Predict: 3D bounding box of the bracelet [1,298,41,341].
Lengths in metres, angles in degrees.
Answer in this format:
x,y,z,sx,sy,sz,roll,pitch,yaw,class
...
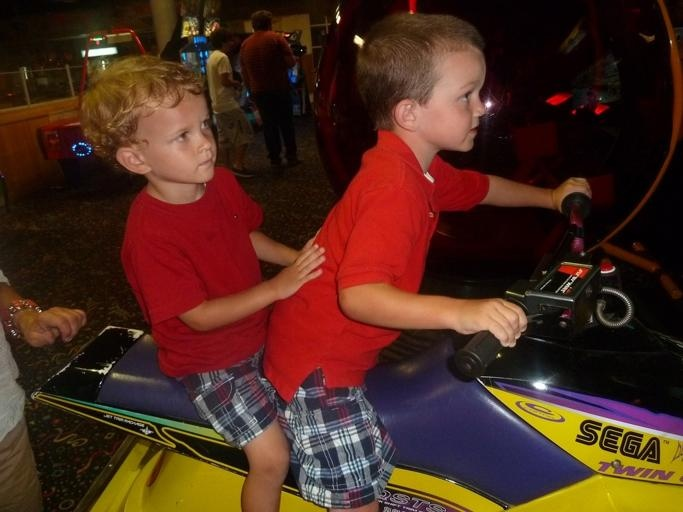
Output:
x,y,z,sx,sy,sz,roll,pitch,yaw,class
-0.898,0.180,1.297,0.101,0.110,0.043,4,-7,-10,bracelet

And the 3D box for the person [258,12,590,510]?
x,y,z,sx,sy,sz,roll,pitch,yaw,class
0.164,0.031,1.152,0.622,1.164,0.689,14,28,28,person
